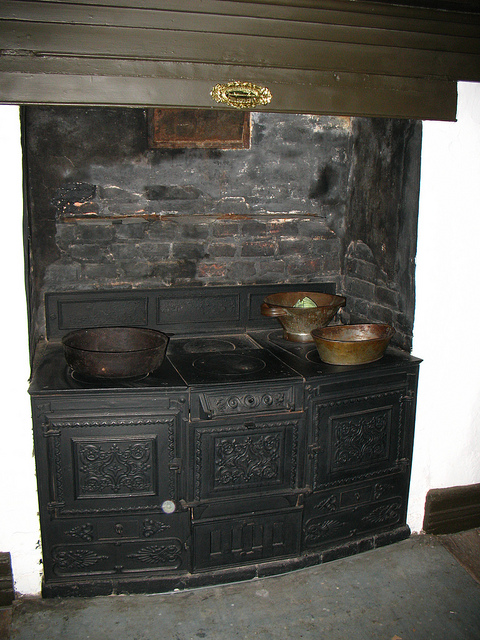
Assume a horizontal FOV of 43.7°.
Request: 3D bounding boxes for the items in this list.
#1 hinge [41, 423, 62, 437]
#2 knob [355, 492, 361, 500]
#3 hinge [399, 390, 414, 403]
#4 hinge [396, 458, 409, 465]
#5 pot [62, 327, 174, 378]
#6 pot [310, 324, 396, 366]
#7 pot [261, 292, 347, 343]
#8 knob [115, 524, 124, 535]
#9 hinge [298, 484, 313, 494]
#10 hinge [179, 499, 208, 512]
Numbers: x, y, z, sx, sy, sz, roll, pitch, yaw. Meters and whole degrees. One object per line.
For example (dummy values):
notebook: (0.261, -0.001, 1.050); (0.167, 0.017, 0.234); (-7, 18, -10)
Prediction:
hinge: (-0.601, 0.354, 1.913); (0.057, 0.034, 0.051); (1, 2, -1)
knob: (0.447, 0.670, 2.279); (0.024, 0.028, 0.010); (-7, 13, -24)
hinge: (0.632, 0.296, 2.287); (0.057, 0.046, 0.012); (-7, 28, -31)
hinge: (0.635, 0.553, 2.342); (0.055, 0.026, 0.020); (-6, 28, -8)
pot: (-0.436, 0.111, 2.108); (0.369, 0.122, 0.379); (0, 16, 0)
pot: (0.427, 0.095, 2.250); (0.327, 0.097, 0.365); (3, 8, 10)
pot: (0.237, -0.063, 2.575); (0.405, 0.208, 0.291); (-5, 17, -25)
knob: (-0.409, 0.707, 2.021); (0.034, 0.029, 0.013); (-5, 12, -23)
hinge: (0.239, 0.612, 2.160); (0.044, 0.034, 0.011); (0, 7, -16)
hinge: (-0.169, 0.630, 2.043); (0.060, 0.015, 0.044); (-1, 2, -27)
